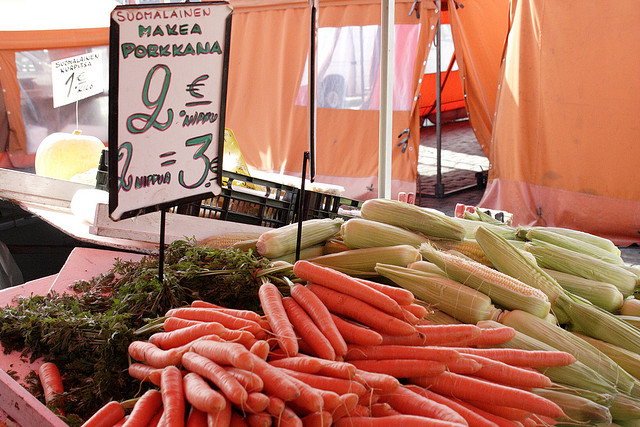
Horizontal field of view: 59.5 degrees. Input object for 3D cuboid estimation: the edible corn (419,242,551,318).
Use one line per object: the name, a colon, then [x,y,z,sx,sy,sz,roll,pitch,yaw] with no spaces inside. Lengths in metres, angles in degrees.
edible corn: [1.055,0.426,3.572,0.960,0.300,0.235,26,-2,14]

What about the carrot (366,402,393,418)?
carrot: [0.317,1.015,2.898,0.115,0.074,0.057,-3,-7,8]

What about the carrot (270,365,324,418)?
carrot: [-0.144,0.874,2.849,0.395,0.133,0.116,34,16,37]

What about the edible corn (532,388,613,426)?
edible corn: [1.369,1.062,3.058,0.338,0.105,0.110,21,-13,-3]

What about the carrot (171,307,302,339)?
carrot: [-0.457,0.599,3.026,0.448,0.076,0.068,9,28,13]

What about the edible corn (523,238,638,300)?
edible corn: [1.745,0.340,3.944,0.914,0.326,0.293,18,-4,5]

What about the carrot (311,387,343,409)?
carrot: [0.044,0.897,2.764,0.173,0.057,0.055,18,4,3]

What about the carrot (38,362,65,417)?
carrot: [-1.512,0.944,3.138,0.095,0.399,0.097,-14,27,-29]

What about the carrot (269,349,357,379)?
carrot: [-0.052,0.779,2.897,0.357,0.097,0.087,9,1,22]

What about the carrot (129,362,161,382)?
carrot: [-0.935,0.835,2.974,0.162,0.084,0.056,10,-5,30]

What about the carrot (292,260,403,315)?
carrot: [0.175,0.411,3.237,0.736,0.153,0.144,16,37,24]

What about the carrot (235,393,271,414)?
carrot: [-0.322,0.910,2.684,0.151,0.077,0.069,-2,-30,21]

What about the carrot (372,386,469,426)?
carrot: [0.509,1.000,2.887,0.357,0.095,0.085,17,30,24]

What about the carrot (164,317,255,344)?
carrot: [-0.638,0.627,3.075,0.536,0.142,0.127,-4,-1,12]

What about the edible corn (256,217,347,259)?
edible corn: [-0.136,0.155,4.034,0.715,0.236,0.242,-16,10,-27]

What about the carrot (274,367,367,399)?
carrot: [-0.006,0.847,2.796,0.354,0.082,0.089,13,-3,7]

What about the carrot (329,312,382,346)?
carrot: [0.150,0.642,3.169,0.386,0.114,0.118,21,-1,23]

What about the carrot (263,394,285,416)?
carrot: [-0.214,0.916,2.698,0.111,0.057,0.052,21,3,44]

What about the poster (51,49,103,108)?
poster: [-2.733,-1.512,6.299,0.507,0.648,0.441,-2,8,-27]

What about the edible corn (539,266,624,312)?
edible corn: [1.699,0.503,3.633,0.413,0.133,0.116,25,-3,7]

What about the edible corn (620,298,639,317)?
edible corn: [2.027,0.621,3.673,0.090,0.103,0.097,-8,-39,15]

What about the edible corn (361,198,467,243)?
edible corn: [0.600,0.084,4.004,0.788,0.268,0.269,10,-36,32]

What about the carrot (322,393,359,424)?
carrot: [0.094,0.956,2.760,0.045,0.177,0.049,28,28,-47]
